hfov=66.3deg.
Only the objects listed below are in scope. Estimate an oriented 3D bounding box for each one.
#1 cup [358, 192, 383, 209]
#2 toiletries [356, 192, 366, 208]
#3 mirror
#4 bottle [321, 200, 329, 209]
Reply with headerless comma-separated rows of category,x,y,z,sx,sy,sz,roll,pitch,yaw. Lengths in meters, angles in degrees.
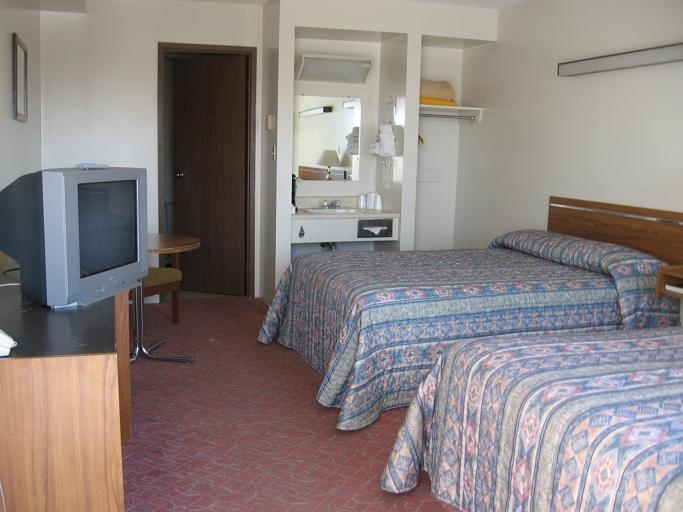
cup,0.313,-0.585,5.622,0.245,0.193,0.144,-2,9,-8
toiletries,0.224,-0.587,5.648,0.122,0.211,0.122,-5,10,-41
mirror,-0.178,-1.290,5.573,0.884,1.073,0.141,-1,14,-15
bottle,-0.179,-0.559,5.677,0.068,0.142,0.091,4,10,13
